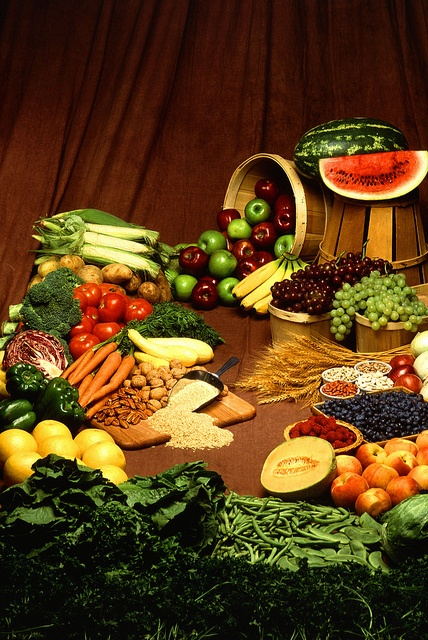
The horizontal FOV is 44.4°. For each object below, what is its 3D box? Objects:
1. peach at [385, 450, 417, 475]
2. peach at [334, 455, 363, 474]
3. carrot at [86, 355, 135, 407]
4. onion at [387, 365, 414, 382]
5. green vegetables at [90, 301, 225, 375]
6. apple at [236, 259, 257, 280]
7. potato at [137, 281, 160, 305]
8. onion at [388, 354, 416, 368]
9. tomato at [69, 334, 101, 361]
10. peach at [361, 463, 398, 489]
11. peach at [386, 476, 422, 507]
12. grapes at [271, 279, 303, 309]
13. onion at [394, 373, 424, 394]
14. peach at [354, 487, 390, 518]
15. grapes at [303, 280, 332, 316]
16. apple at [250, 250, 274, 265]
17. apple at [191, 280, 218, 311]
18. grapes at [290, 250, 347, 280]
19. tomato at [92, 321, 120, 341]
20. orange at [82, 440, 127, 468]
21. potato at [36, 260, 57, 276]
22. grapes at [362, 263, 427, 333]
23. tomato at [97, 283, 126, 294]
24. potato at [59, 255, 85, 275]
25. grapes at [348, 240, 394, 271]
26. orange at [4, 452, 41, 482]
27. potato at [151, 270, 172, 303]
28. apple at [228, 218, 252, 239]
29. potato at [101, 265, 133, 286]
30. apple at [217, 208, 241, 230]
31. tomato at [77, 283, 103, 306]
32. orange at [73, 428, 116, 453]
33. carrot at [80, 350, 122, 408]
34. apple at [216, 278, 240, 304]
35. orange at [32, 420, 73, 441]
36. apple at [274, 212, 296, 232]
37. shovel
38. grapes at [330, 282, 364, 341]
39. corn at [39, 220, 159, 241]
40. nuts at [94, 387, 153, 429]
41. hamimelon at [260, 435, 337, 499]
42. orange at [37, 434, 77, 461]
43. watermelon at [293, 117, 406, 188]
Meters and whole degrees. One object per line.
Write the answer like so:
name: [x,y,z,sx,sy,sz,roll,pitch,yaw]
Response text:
peach: [0.724,0.541,2.005,0.091,0.082,0.087,8,-5,-19]
peach: [0.518,0.555,2.024,0.078,0.074,0.078,5,0,-21]
carrot: [-0.582,0.328,2.980,0.082,0.087,0.430,29,53,20]
onion: [1.020,0.279,2.866,0.109,0.056,0.090,-22,15,-19]
green vegetables: [-0.347,0.069,3.519,0.628,0.264,0.333,-4,12,-8]
apple: [0.301,-0.449,4.482,0.174,0.170,0.175,-6,12,8]
potato: [-0.512,-0.221,4.189,0.148,0.104,0.191,11,-21,18]
onion: [1.062,0.228,2.960,0.088,0.086,0.082,-1,-40,31]
tomato: [-0.845,0.165,3.405,0.175,0.149,0.165,-2,9,-23]
peach: [0.616,0.574,1.986,0.093,0.091,0.091,41,-14,-30]
peach: [0.673,0.597,1.856,0.110,0.119,0.107,6,32,17]
grapes: [0.449,-0.151,3.210,0.148,0.125,0.196,13,10,24]
onion: [1.008,0.325,2.731,0.123,0.097,0.180,1,-4,44]
peach: [0.564,0.639,1.851,0.097,0.090,0.099,5,-17,-25]
grapes: [0.621,-0.129,3.154,0.110,0.145,0.199,8,34,15]
apple: [0.416,-0.539,4.513,0.138,0.132,0.134,19,15,22]
apple: [-0.073,-0.203,4.410,0.232,0.221,0.228,16,-2,-39]
grapes: [0.682,-0.330,3.280,0.383,0.194,0.180,4,-3,7]
tomato: [-0.729,0.070,3.540,0.139,0.123,0.132,0,8,-10]
orange: [-0.441,0.544,2.112,0.128,0.116,0.118,19,27,1]
potato: [-1.295,-0.401,4.066,0.122,0.089,0.160,-7,2,9]
grapes: [1.036,-0.129,3.042,0.321,0.346,0.259,16,29,39]
tomato: [-0.782,-0.242,3.982,0.099,0.064,0.128,16,9,43]
potato: [-1.100,-0.432,4.047,0.134,0.093,0.177,3,3,25]
grapes: [0.999,-0.424,3.342,0.286,0.210,0.232,-4,20,10]
orange: [-0.717,0.553,1.914,0.126,0.092,0.099,5,-3,-3]
potato: [-0.414,-0.278,4.320,0.120,0.253,0.097,-19,-5,36]
apple: [0.234,-0.814,4.785,0.203,0.185,0.235,-1,0,15]
potato: [-0.761,-0.360,4.134,0.238,0.126,0.115,7,-25,18]
apple: [0.143,-0.961,4.992,0.212,0.203,0.203,3,10,12]
tomato: [-0.868,-0.192,3.756,0.163,0.142,0.157,3,20,13]
orange: [-0.528,0.501,2.286,0.121,0.106,0.114,7,3,3]
carrot: [-0.643,0.321,2.982,0.073,0.079,0.397,21,43,20]
apple: [0.099,-0.243,4.368,0.211,0.194,0.194,-4,-3,-35]
orange: [-0.697,0.467,2.223,0.112,0.095,0.105,9,18,-3]
apple: [0.634,-0.883,4.614,0.178,0.163,0.173,10,18,9]
shovel: [-0.100,0.379,2.847,0.271,0.212,0.262,3,-4,24]
grapes: [0.761,-0.054,3.142,0.199,0.320,0.193,-9,20,-10]
corn: [-1.013,-0.750,4.396,0.999,0.123,0.170,7,-14,-7]
nuts: [-0.481,0.465,2.786,0.280,0.147,0.294,-15,23,-30]
hamimelon: [0.314,0.560,1.979,0.250,0.095,0.218,-12,40,29]
orange: [-0.612,0.494,2.048,0.133,0.118,0.120,3,18,-6]
watermelon: [1.014,-1.320,4.100,0.848,0.430,0.446,-2,-5,8]
